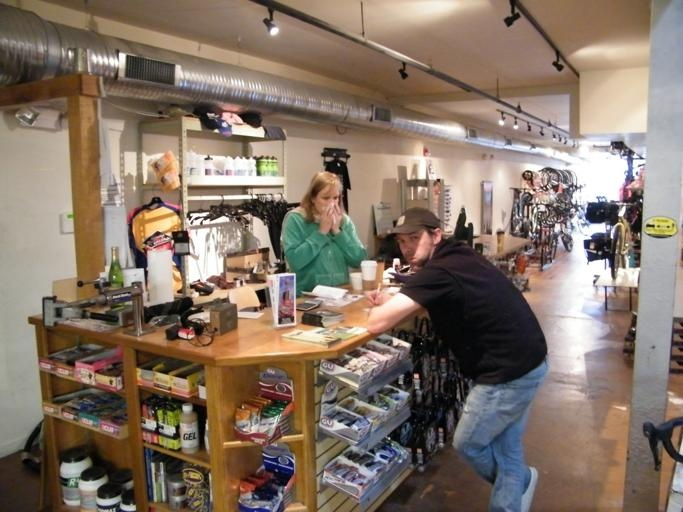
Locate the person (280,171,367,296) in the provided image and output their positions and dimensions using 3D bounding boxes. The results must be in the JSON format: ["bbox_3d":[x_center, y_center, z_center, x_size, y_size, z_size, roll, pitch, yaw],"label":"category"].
[{"bbox_3d":[-0.160,-0.203,4.291,0.733,1.014,0.362,-9,12,-36],"label":"person"}]

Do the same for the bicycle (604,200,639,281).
[{"bbox_3d":[3.981,-0.185,7.070,0.321,1.167,1.835,4,11,29],"label":"bicycle"}]

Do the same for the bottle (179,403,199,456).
[{"bbox_3d":[-0.935,1.062,3.091,0.116,0.303,0.091,-5,11,-20],"label":"bottle"}]

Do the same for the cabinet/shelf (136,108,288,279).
[{"bbox_3d":[-1.425,-0.679,5.388,0.580,1.819,1.917,2,6,36],"label":"cabinet/shelf"}]

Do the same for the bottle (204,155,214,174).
[{"bbox_3d":[-1.395,-0.955,5.307,0.098,0.204,0.234,-4,10,-14],"label":"bottle"}]

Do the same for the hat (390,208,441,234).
[{"bbox_3d":[0.451,-0.203,3.077,0.248,0.133,0.165,0,0,-27],"label":"hat"}]

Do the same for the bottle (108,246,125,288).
[{"bbox_3d":[-1.561,0.073,3.461,0.100,0.269,0.212,-6,11,-25],"label":"bottle"}]

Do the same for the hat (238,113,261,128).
[{"bbox_3d":[-1.029,-1.561,5.755,0.269,0.173,0.168,-5,11,-19],"label":"hat"}]

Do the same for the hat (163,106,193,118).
[{"bbox_3d":[-1.709,-1.508,5.228,0.397,0.120,0.147,4,11,26],"label":"hat"}]
